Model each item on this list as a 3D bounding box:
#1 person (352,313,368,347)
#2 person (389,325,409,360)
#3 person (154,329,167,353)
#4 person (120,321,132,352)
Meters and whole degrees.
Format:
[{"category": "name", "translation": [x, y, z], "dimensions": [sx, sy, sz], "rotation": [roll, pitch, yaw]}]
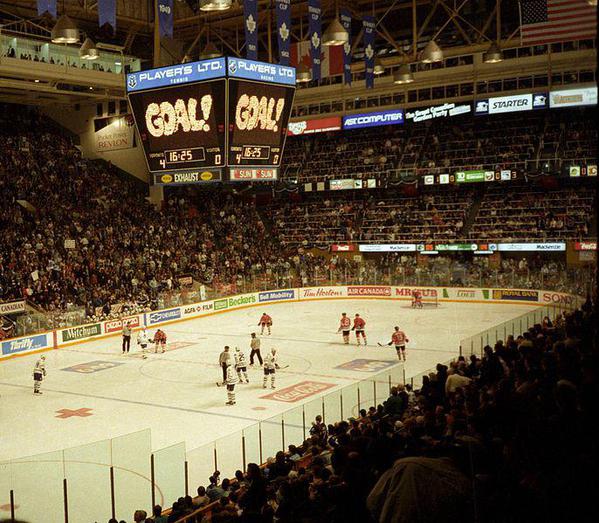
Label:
[{"category": "person", "translation": [2.767, 3.188, 28.731], "dimensions": [0.905, 0.810, 2.363], "rotation": [-4, -38, 6]}, {"category": "person", "translation": [4.116, 3.379, 25.852], "dimensions": [0.947, 1.739, 0.609], "rotation": [-3, 42, 8]}, {"category": "person", "translation": [-6.178, 3.454, 27.705], "dimensions": [0.568, 1.127, 1.963], "rotation": [-1, 3, -13]}, {"category": "person", "translation": [-7.687, 3.304, 27.788], "dimensions": [0.368, 1.448, 1.311], "rotation": [-2, 3, -17]}]
